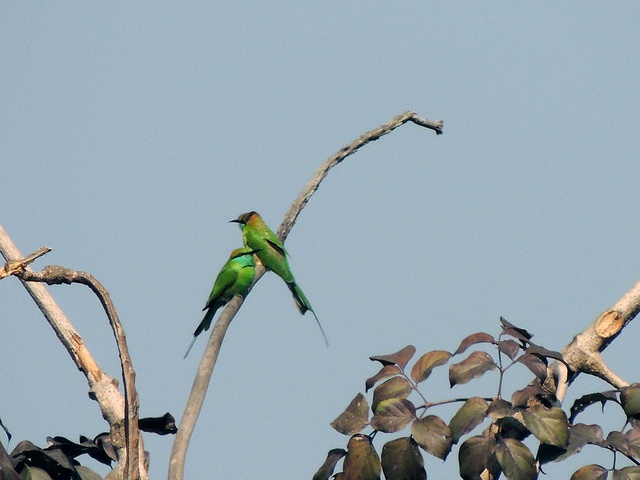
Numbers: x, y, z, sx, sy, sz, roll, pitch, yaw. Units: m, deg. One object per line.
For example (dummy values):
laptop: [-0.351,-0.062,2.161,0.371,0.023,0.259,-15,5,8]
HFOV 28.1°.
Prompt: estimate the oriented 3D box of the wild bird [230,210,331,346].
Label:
wild bird: [-0.313,0.212,10.041,0.285,1.230,0.545,-32,-19,-34]

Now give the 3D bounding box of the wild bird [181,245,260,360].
wild bird: [-0.606,0.391,8.315,0.787,0.353,0.192,-49,-24,-4]
